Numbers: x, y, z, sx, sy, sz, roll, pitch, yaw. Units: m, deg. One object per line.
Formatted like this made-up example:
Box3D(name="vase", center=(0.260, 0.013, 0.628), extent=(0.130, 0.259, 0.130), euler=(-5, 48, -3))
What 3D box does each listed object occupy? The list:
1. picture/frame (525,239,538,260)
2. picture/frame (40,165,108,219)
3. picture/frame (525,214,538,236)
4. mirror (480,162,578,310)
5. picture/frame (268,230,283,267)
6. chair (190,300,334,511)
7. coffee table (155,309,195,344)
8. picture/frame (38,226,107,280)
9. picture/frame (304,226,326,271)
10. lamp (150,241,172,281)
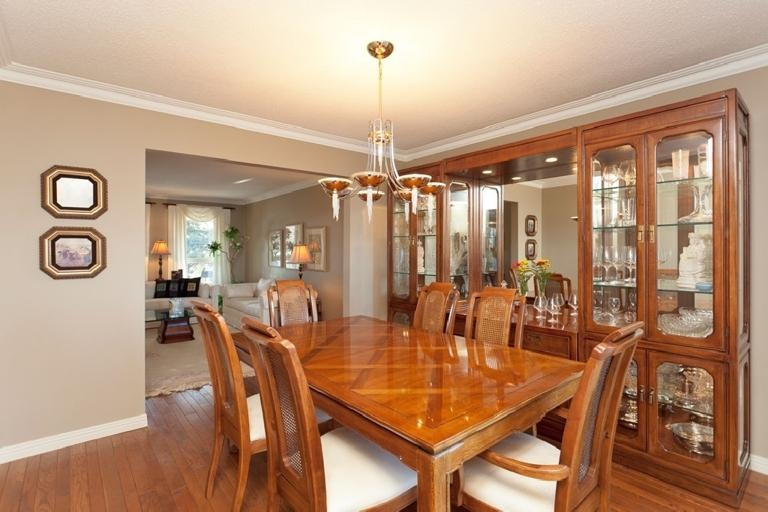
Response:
Box3D(name="picture/frame", center=(2.276, -0.097, 7.534), extent=(0.031, 0.400, 0.372), euler=(-1, -3, 40))
Box3D(name="picture/frame", center=(-2.898, -0.595, 4.475), extent=(0.546, 0.528, 0.041), euler=(0, 1, -27))
Box3D(name="picture/frame", center=(2.271, -0.485, 7.513), extent=(0.027, 0.337, 0.349), euler=(-1, -4, 37))
Box3D(name="mirror", center=(1.832, -0.273, 6.150), extent=(1.807, 1.672, 0.956), euler=(4, -6, -40))
Box3D(name="picture/frame", center=(-2.089, -0.149, 9.311), extent=(0.058, 0.830, 0.731), euler=(4, -5, -36))
Box3D(name="chair", center=(-1.128, 1.104, 4.497), extent=(1.441, 1.968, 1.214), euler=(0, 1, -34))
Box3D(name="coffee table", center=(-3.183, 1.051, 7.410), extent=(0.472, 0.431, 0.516), euler=(1, -2, -28))
Box3D(name="picture/frame", center=(-2.910, -0.029, 4.473), extent=(0.525, 0.508, 0.039), euler=(0, -2, -35))
Box3D(name="picture/frame", center=(-1.132, -0.122, 7.977), extent=(0.059, 0.796, 0.728), euler=(5, -9, -40))
Box3D(name="lamp", center=(-4.521, 0.044, 9.805), extent=(0.341, 0.799, 0.516), euler=(-4, 1, -25))
